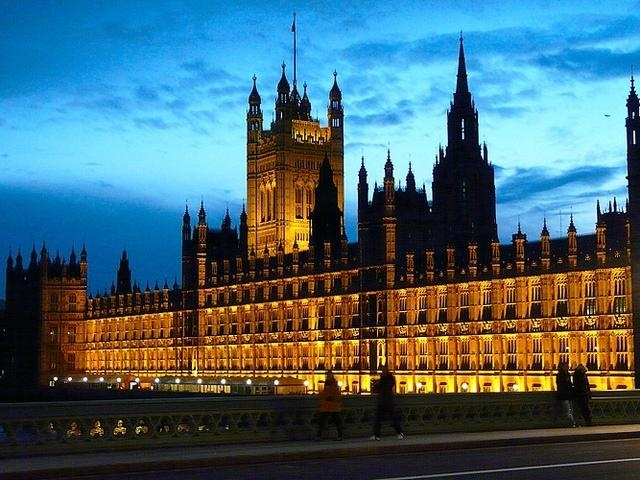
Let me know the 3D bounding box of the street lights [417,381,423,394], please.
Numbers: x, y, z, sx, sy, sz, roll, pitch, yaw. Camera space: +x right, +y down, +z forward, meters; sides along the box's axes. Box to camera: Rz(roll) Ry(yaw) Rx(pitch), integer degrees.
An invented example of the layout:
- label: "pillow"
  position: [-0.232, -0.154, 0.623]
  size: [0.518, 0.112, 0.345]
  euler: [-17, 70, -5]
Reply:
- label: "street lights"
  position: [8.359, 12.115, 108.867]
  size: [0.573, 0.740, 1.032]
  euler: [-2, -8, 2]

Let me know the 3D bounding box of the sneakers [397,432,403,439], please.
- label: "sneakers"
  position: [3.432, 8.320, 56.014]
  size: [0.117, 0.229, 0.334]
  euler: [1, 2, -19]
